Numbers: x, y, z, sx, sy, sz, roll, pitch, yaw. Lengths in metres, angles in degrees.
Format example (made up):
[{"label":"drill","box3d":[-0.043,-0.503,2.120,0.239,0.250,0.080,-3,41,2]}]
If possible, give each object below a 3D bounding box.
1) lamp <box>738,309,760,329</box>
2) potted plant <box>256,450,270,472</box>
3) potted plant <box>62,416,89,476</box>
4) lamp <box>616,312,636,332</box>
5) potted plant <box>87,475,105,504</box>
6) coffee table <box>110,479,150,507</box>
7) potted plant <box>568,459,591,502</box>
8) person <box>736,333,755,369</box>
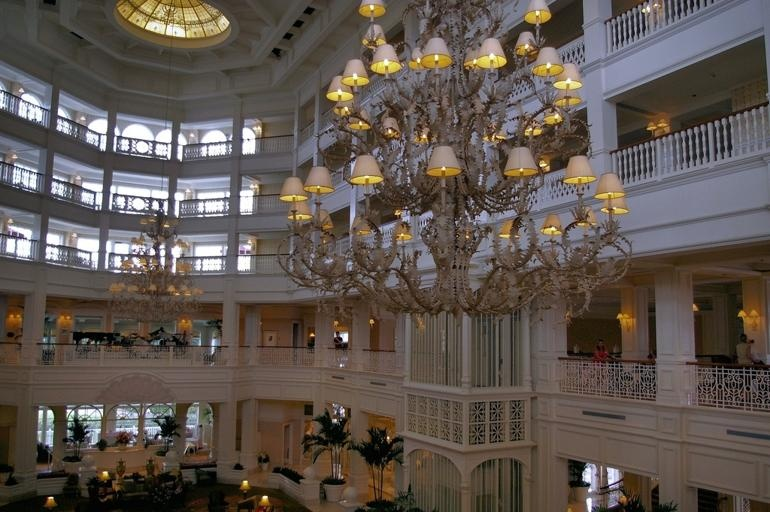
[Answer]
[{"label":"lamp","box3d":[10.732,1.826,19.962,0.434,0.605,0.638,16,-20,-15]},{"label":"potted plant","box3d":[-5.052,8.662,28.589,0.683,0.784,0.664,4,-12,-20]},{"label":"potted plant","box3d":[-12.535,7.491,27.488,0.936,1.886,3.257,4,-12,-24]},{"label":"lamp","box3d":[7.741,2.073,21.697,0.458,0.677,0.680,10,-22,-10]},{"label":"potted plant","box3d":[-9.906,8.029,23.235,0.529,0.773,1.012,3,-12,-22]},{"label":"coffee table","box3d":[-9.000,8.392,23.877,1.190,0.833,0.971,3,-12,-21]},{"label":"potted plant","box3d":[6.676,7.727,23.388,0.721,1.472,2.087,-4,-12,15]},{"label":"person","box3d":[10.108,2.582,19.032,0.428,0.860,1.416,-7,-13,28]}]
